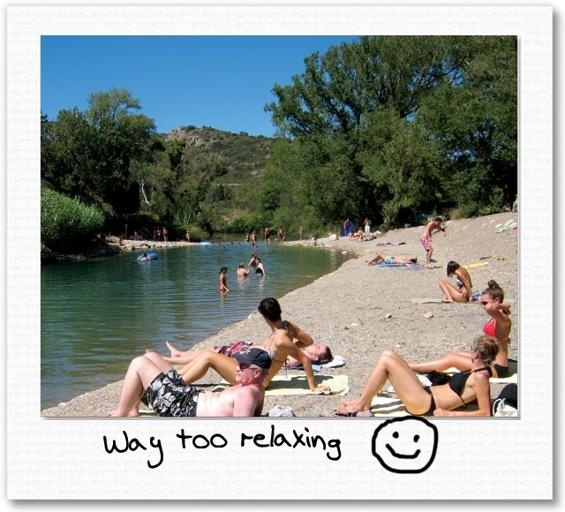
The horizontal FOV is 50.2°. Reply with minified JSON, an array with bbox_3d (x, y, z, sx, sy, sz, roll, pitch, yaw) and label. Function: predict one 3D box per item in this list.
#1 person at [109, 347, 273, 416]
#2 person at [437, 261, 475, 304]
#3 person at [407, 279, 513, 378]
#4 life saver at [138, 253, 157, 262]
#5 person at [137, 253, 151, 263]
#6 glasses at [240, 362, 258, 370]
[{"bbox_3d":[-1.106,1.544,7.479,1.770,0.832,0.892,2,-10,9],"label":"person"},{"bbox_3d":[4.646,0.646,16.111,0.733,1.187,0.829,-3,1,15],"label":"person"},{"bbox_3d":[2.530,1.000,8.586,1.421,1.348,1.177,-2,-2,18],"label":"person"},{"bbox_3d":[-9.379,0.042,41.903,0.803,0.397,1.039,4,2,44],"label":"life saver"},{"bbox_3d":[-9.524,0.089,41.208,0.704,0.414,0.977,2,-4,-30],"label":"person"},{"bbox_3d":[-0.403,1.239,7.008,0.198,0.070,0.036,-1,4,10],"label":"glasses"}]
